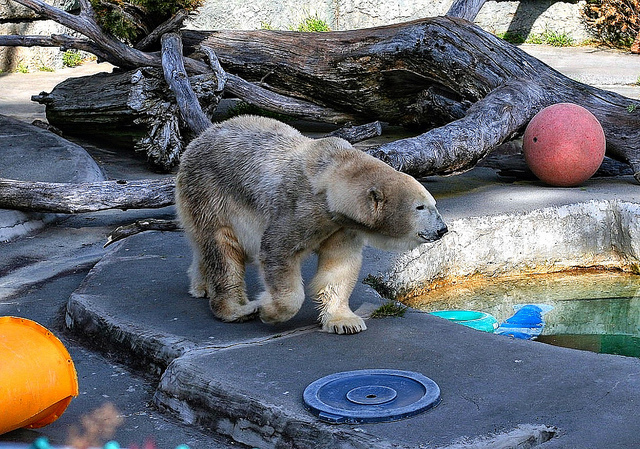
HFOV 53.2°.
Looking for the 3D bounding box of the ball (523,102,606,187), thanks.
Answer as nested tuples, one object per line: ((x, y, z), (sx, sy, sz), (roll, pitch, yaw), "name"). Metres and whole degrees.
((2.885, -0.962, 7.489), (1.269, 0.969, 1.072), (-2, 4, 2), "ball")
